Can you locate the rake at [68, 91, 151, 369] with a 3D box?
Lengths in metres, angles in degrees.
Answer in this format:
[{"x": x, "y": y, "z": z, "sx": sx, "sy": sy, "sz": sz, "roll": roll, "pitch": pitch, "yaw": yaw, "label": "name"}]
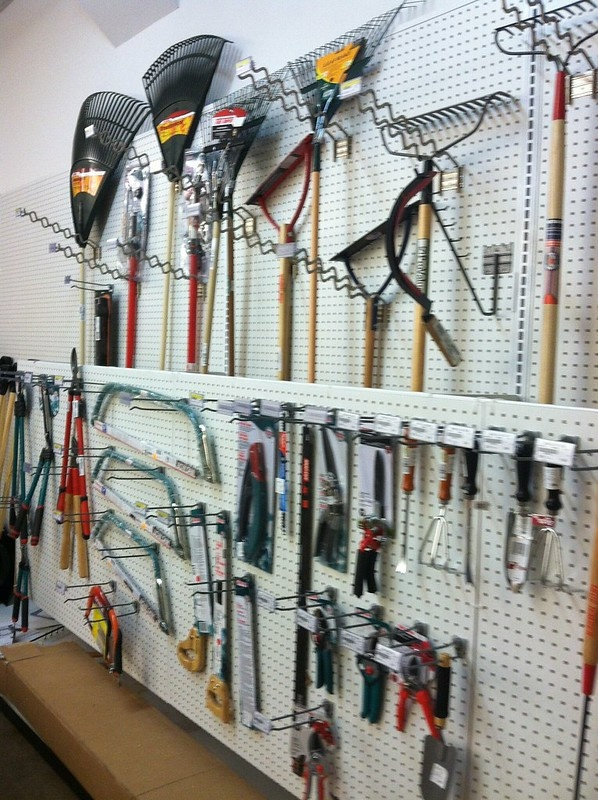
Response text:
[{"x": -0.737, "y": -0.749, "z": 2.902, "sx": 0.152, "sy": 0.859, "sz": 0.323, "roll": -8, "pitch": 17, "yaw": -42, "label": "rake"}]
